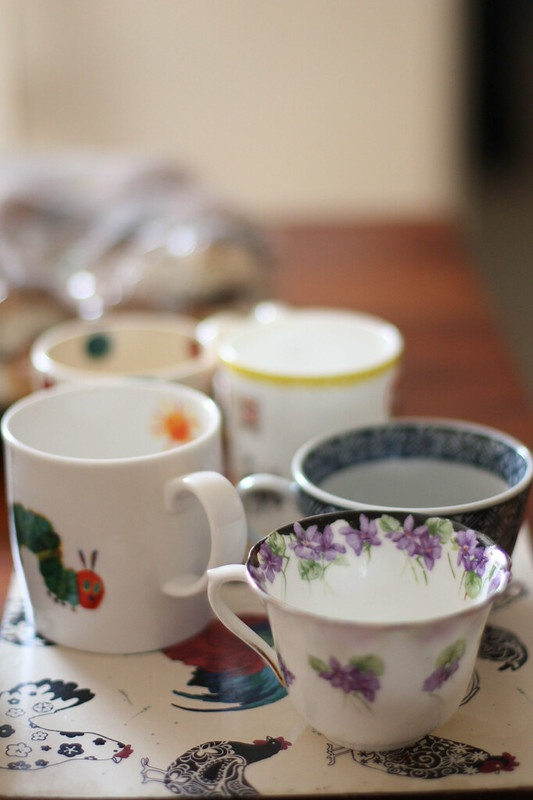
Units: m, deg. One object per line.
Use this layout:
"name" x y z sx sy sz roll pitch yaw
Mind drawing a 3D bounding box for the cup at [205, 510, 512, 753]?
"cup" 0.029 0.066 0.225 0.084 0.047 0.070 5 19 27

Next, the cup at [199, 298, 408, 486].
"cup" 0.010 -0.010 0.393 0.099 0.066 0.074 10 28 23

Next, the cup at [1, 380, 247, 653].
"cup" -0.054 0.042 0.332 0.089 0.077 0.112 -19 27 -41
